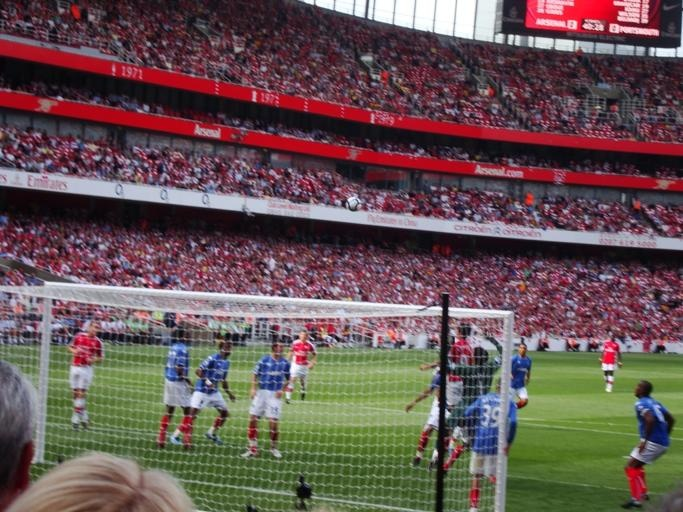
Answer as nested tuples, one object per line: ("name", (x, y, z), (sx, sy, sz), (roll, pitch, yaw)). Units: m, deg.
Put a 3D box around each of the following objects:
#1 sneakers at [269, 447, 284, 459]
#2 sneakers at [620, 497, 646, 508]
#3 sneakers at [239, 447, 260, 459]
("sneakers", (-2.116, 6.412, 43.889), (0.248, 0.359, 0.089), (-37, -14, -14))
("sneakers", (9.186, 7.829, 42.700), (0.621, 0.287, 0.187), (2, -3, 9))
("sneakers", (-2.942, 6.408, 43.818), (0.504, 0.204, 0.275), (4, 0, 4))
